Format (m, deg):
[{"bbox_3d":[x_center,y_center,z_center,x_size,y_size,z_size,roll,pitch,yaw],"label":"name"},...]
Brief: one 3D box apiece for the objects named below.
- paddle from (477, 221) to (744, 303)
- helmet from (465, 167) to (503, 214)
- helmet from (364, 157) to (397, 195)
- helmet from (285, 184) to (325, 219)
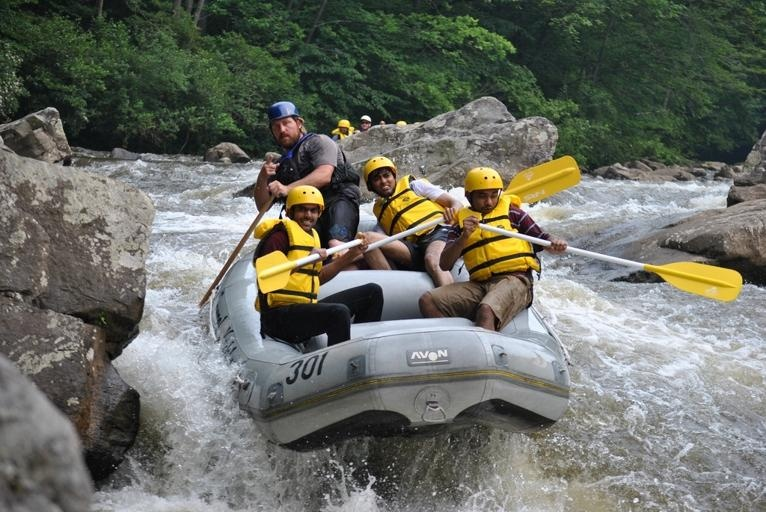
[{"bbox_3d":[2.892,0.097,9.708,3.436,0.413,0.235,16,8,9],"label":"paddle"},{"bbox_3d":[1.120,-0.732,8.452,0.375,0.446,0.451,-10,7,-10],"label":"helmet"},{"bbox_3d":[-0.102,-1.034,9.360,0.380,0.421,0.449,-11,-14,-10],"label":"helmet"},{"bbox_3d":[-0.807,-0.576,8.041,0.270,0.263,0.330,3,15,-21],"label":"helmet"}]
